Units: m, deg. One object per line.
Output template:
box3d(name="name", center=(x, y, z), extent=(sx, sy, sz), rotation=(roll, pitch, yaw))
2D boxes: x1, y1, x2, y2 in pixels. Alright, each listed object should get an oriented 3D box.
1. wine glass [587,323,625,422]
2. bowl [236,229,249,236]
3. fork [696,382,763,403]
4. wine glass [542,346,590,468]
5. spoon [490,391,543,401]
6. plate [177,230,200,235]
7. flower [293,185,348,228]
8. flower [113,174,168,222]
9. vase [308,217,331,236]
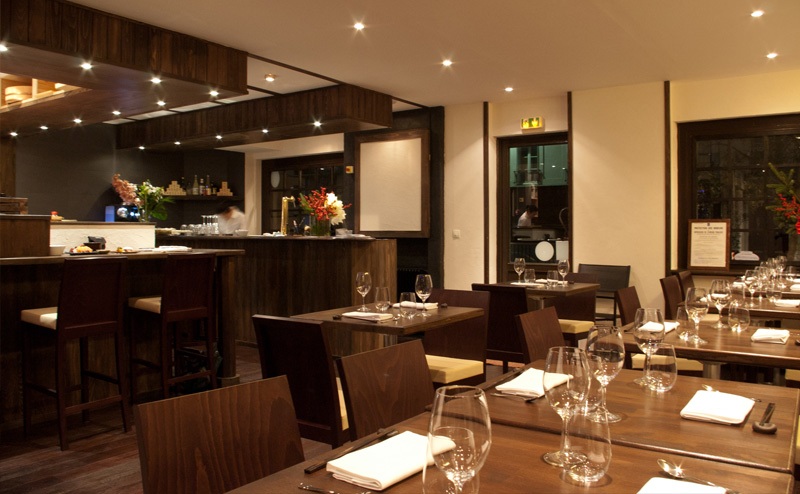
box3d(name="wine glass", center=(1.012, 0.644, 2.893), extent=(0.184, 0.439, 0.194), rotation=(-3, -4, 19))
box3d(name="bowl", center=(-2.361, -0.210, 8.615), extent=(0.198, 0.077, 0.195), rotation=(0, -3, 0))
box3d(name="fork", center=(1.687, 0.773, 3.054), extent=(0.072, 0.080, 0.619), rotation=(-6, -7, 14))
box3d(name="wine glass", center=(0.726, 0.661, 2.548), extent=(0.177, 0.553, 0.180), rotation=(-1, 2, 21))
box3d(name="spoon", center=(0.592, 0.776, 3.014), extent=(0.284, 0.028, 0.084), rotation=(1, 14, 19))
box3d(name="plate", center=(-3.022, -0.193, 8.327), extent=(0.175, 0.041, 0.175), rotation=(1, 0, 5))
box3d(name="flower", center=(-0.974, -0.481, 7.161), extent=(0.652, 0.559, 0.642), rotation=(1, 3, -19))
box3d(name="flower", center=(-3.387, -0.602, 7.611), extent=(0.500, 0.530, 0.873), rotation=(-2, 2, -14))
box3d(name="vase", center=(-1.007, -0.238, 7.161), extent=(0.240, 0.246, 0.234), rotation=(2, -1, 6))
